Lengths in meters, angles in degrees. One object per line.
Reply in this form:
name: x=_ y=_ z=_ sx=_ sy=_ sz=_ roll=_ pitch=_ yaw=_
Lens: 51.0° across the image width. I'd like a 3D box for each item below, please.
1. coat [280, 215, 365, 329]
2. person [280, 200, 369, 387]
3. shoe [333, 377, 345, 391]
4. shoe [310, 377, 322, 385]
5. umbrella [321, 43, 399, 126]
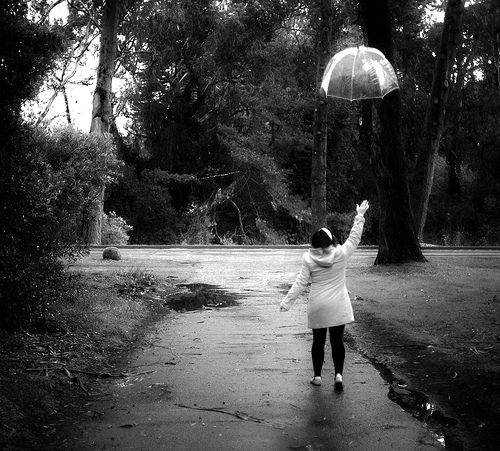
coat: x=0.847 y=0.587 z=6.105 sx=0.988 sy=1.241 sz=0.567 roll=0 pitch=2 yaw=-3
person: x=0.906 y=0.750 z=6.193 sx=0.893 sy=2.088 sz=1.136 roll=1 pitch=3 yaw=14
shoe: x=0.953 y=1.713 z=5.641 sx=0.067 sy=0.149 sz=0.128 roll=2 pitch=6 yaw=15
shoe: x=0.731 y=1.732 z=5.852 sx=0.132 sy=0.064 sz=0.159 roll=0 pitch=2 yaw=8
umbrella: x=2.648 y=-3.551 z=13.291 sx=1.482 sy=1.858 sz=1.517 roll=-13 pitch=15 yaw=-33
